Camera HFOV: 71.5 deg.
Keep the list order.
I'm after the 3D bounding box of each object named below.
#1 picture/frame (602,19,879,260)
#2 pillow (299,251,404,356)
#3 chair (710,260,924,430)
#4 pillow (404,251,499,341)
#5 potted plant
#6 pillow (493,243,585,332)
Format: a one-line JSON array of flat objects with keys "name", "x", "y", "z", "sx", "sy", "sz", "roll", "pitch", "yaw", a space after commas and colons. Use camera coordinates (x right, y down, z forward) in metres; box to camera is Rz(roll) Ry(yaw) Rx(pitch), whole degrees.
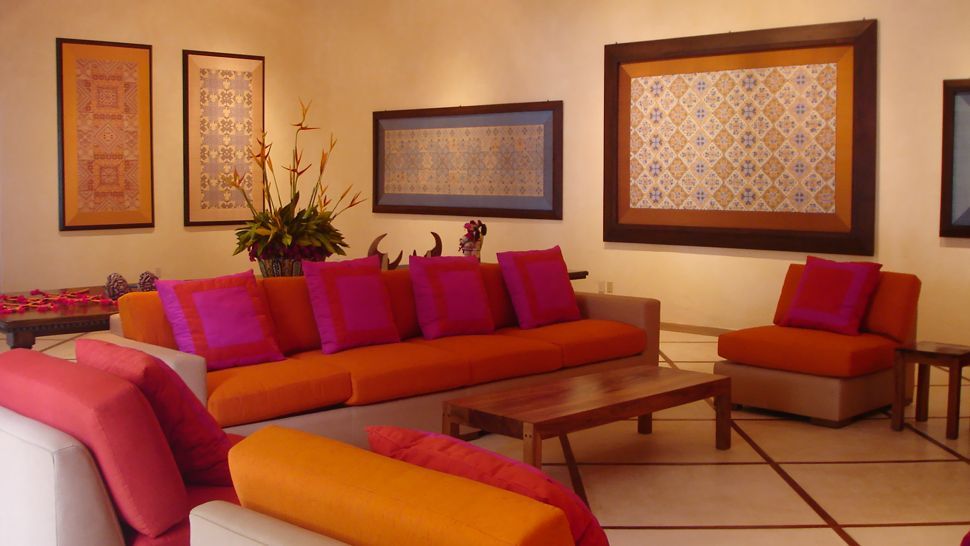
[{"name": "picture/frame", "x": 3.128, "y": -1.580, "z": 7.913, "sx": 3.358, "sy": 2.443, "sz": 0.237, "roll": 0, "pitch": 3, "yaw": 28}, {"name": "pillow", "x": -1.074, "y": 0.229, "z": 5.371, "sx": 0.835, "sy": 0.713, "sz": 0.214, "roll": -10, "pitch": -11, "yaw": -39}, {"name": "chair", "x": 3.037, "y": 0.582, "z": 6.183, "sx": 1.522, "sy": 1.101, "sz": 1.488, "roll": -5, "pitch": 6, "yaw": -12}, {"name": "pillow", "x": -0.292, "y": 0.203, "z": 5.788, "sx": 0.752, "sy": 0.682, "sz": 0.315, "roll": -4, "pitch": -2, "yaw": -17}, {"name": "potted plant", "x": -1.680, "y": -0.433, "z": 5.945, "sx": 0.825, "sy": 1.186, "sz": 0.844, "roll": 9, "pitch": 2, "yaw": 35}, {"name": "pillow", "x": 0.474, "y": 0.129, "z": 6.263, "sx": 0.830, "sy": 0.682, "sz": 0.213, "roll": -10, "pitch": -13, "yaw": -35}]
